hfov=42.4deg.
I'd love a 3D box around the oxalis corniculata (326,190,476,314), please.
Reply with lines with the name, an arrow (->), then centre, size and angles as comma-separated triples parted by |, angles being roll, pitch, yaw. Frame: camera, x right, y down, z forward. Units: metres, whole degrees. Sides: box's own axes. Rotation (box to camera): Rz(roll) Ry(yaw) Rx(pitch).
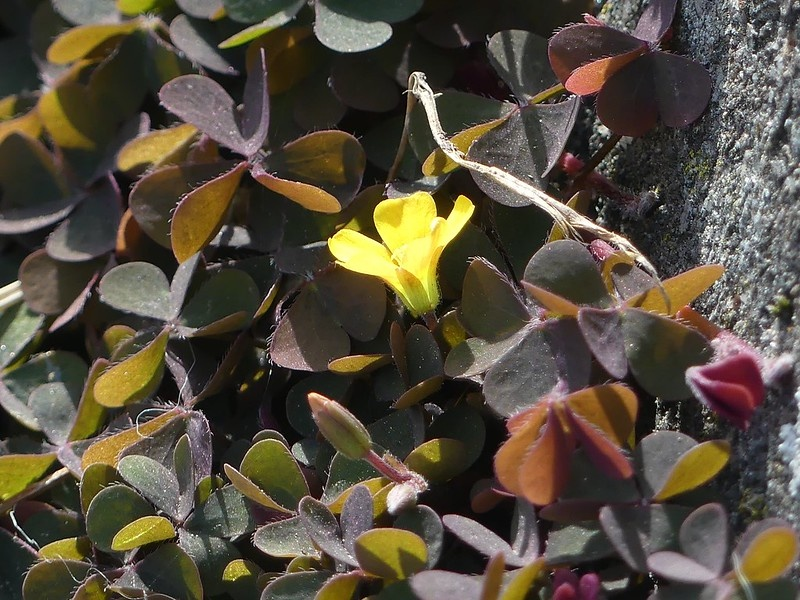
oxalis corniculata -> 0.004, -0.067, 1.388 | 0.152, 0.165, 0.115 | -21, 80, 35
